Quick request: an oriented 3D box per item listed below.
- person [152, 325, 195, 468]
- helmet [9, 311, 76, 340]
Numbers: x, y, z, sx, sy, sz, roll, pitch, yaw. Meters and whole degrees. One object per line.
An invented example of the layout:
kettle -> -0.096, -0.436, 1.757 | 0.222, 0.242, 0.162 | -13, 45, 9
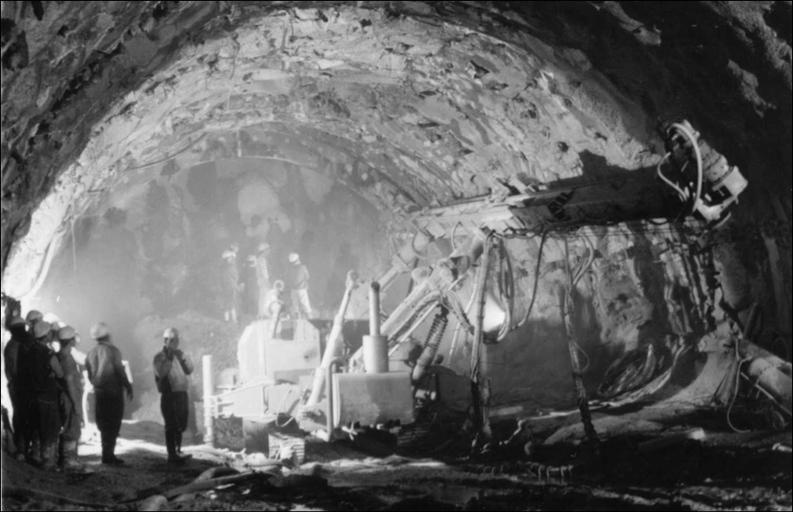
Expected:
person -> -3.013, 1.840, 12.422 | 0.464, 1.633, 0.655 | -2, 13, -34
helmet -> -4.536, 0.876, 11.968 | 0.546, 0.189, 0.379 | 20, -3, 18
